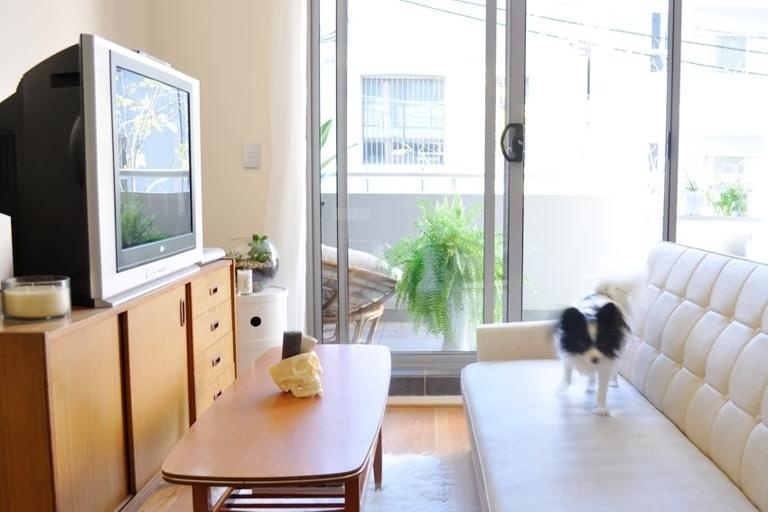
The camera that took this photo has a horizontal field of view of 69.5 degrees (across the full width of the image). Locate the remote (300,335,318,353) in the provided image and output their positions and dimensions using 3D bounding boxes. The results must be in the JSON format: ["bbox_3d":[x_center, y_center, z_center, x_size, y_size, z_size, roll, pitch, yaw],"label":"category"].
[{"bbox_3d":[-0.366,0.410,2.604,0.077,0.065,0.072,0,-8,25],"label":"remote"}]

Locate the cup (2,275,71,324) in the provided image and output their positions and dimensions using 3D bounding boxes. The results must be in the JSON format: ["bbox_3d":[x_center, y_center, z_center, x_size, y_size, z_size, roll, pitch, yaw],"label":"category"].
[{"bbox_3d":[-1.380,0.163,2.181,0.186,0.124,0.193,0,2,0],"label":"cup"}]

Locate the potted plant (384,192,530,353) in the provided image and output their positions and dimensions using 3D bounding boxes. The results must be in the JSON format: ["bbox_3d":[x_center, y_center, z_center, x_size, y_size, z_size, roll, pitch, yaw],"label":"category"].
[{"bbox_3d":[0.563,0.220,4.191,1.182,1.182,1.063,-3,-3,14],"label":"potted plant"}]

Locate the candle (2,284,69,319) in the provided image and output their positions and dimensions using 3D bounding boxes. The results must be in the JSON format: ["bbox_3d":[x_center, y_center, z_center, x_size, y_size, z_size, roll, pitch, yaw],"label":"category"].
[{"bbox_3d":[-1.372,0.176,2.153,0.156,0.095,0.160,1,2,-12],"label":"candle"}]

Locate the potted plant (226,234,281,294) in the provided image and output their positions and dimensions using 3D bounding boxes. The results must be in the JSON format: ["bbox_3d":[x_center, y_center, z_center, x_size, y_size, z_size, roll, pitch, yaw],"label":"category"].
[{"bbox_3d":[-0.882,0.058,3.614,0.393,0.459,0.397,-3,-1,-11],"label":"potted plant"}]

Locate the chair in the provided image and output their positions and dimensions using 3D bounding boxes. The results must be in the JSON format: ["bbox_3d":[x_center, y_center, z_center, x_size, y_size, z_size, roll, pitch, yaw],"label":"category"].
[{"bbox_3d":[-0.176,0.284,4.172,0.614,0.678,0.529,13,15,5],"label":"chair"}]

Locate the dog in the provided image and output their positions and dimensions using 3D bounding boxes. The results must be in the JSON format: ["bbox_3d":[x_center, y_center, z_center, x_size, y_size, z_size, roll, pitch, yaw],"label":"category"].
[{"bbox_3d":[1.039,0.358,2.779,0.220,0.539,0.902,-4,16,23],"label":"dog"}]
